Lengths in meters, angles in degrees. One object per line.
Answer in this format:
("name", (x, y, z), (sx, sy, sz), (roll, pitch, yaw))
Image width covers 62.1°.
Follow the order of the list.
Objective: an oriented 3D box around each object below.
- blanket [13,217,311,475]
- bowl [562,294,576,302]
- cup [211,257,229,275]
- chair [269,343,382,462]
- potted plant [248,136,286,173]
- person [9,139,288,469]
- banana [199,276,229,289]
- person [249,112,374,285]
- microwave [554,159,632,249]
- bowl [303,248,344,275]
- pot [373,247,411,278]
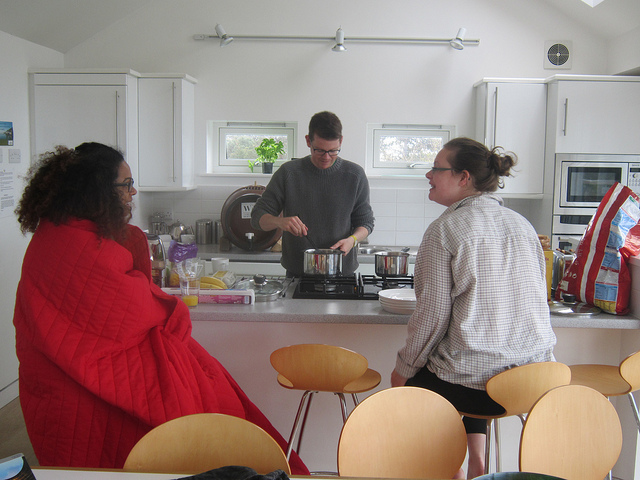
("blanket", (-0.721, 0.365, 2.021), (0.786, 0.888, 0.406), (-1, 7, -28))
("bowl", (1.294, 0.305, 2.764), (0.041, 0.026, 0.042), (2, -6, 0))
("cup", (-0.592, 0.145, 3.153), (0.096, 0.109, 0.150), (0, 8, -8))
("chair", (0.036, 0.727, 2.511), (0.446, 0.719, 0.516), (4, 15, 17))
("potted plant", (-0.463, -0.757, 4.806), (0.335, 0.354, 0.306), (-3, 4, -18))
("person", (-0.757, 0.221, 2.014), (0.800, 1.172, 0.385), (1, 7, -11))
("banana", (-0.566, 0.231, 2.834), (0.128, 0.046, 0.027), (16, -6, -3))
("person", (-0.060, 0.001, 3.324), (0.752, 1.547, 0.583), (-3, 22, -8))
("microwave", (2.243, -0.328, 4.529), (0.600, 0.870, 0.442), (1, 20, 8))
("bowl", (0.011, 0.122, 2.924), (0.154, 0.098, 0.157), (1, -2, 0))
("pot", (0.437, 0.137, 3.016), (0.147, 0.150, 0.268), (8, 8, 40))
